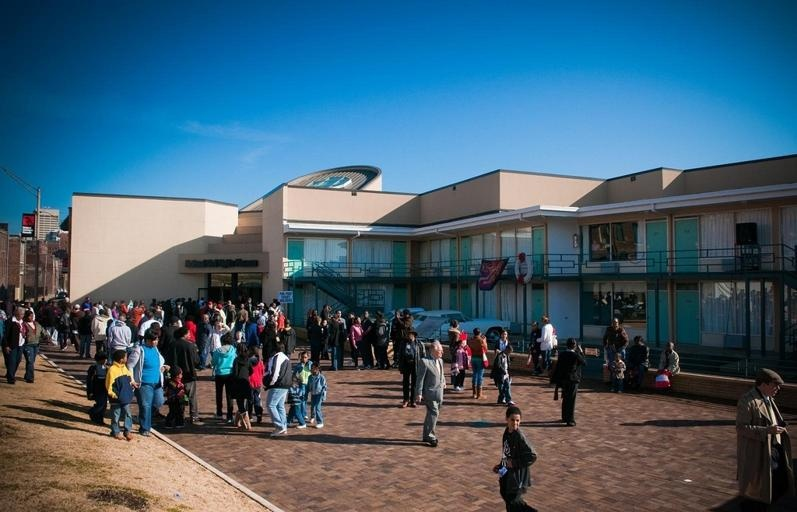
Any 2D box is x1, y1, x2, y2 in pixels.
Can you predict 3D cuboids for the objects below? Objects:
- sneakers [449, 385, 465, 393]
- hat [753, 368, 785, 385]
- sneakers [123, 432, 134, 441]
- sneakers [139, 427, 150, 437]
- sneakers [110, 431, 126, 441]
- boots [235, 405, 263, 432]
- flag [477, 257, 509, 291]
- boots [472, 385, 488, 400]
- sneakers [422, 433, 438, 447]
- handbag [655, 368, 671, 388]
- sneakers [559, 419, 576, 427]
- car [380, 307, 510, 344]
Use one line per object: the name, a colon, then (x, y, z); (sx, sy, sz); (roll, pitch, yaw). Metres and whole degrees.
sneakers: (2.047, 4.665, 26.404); (0.464, 0.216, 0.173); (-9, -10, 42)
hat: (8.677, 2.778, 17.676); (0.405, 0.211, 0.538); (4, -4, -8)
sneakers: (-7.527, 4.963, 20.724); (0.210, 0.224, 0.521); (2, -3, -20)
sneakers: (-7.271, 4.975, 21.335); (0.155, 0.196, 0.448); (6, -12, -38)
sneakers: (-7.835, 4.990, 20.865); (0.511, 0.222, 0.195); (-5, -8, 38)
boots: (-4.568, 4.821, 22.177); (0.503, 0.617, 0.603); (0, -5, -23)
flag: (4.946, 0.901, 39.848); (0.458, 1.656, 1.720); (21, 0, -28)
boots: (2.782, 4.591, 25.499); (0.465, 0.448, 0.380); (-1, 0, -29)
sneakers: (0.906, 5.162, 21.099); (0.209, 0.244, 0.568); (3, -11, -22)
handbag: (9.190, 4.219, 25.855); (0.545, 0.706, 0.298); (-2, -4, 12)
sneakers: (5.178, 4.994, 22.539); (0.162, 0.221, 0.506); (1, -2, 39)
car: (2.868, 3.230, 35.906); (3.703, 1.076, 1.981); (0, -1, -25)
